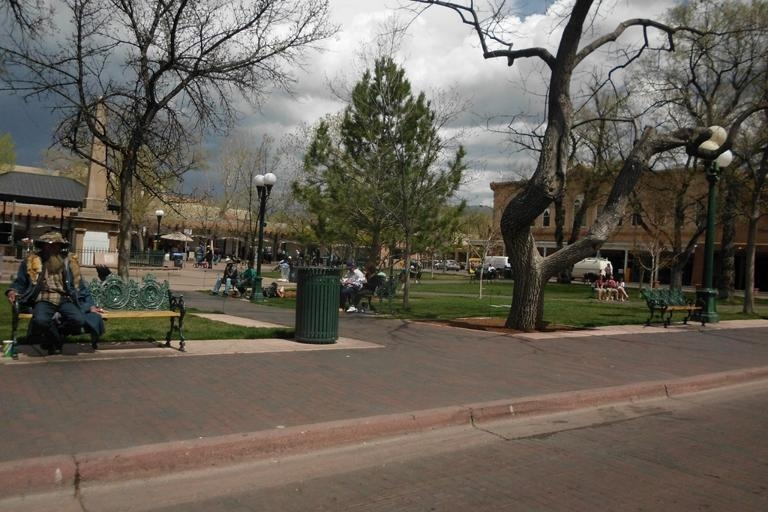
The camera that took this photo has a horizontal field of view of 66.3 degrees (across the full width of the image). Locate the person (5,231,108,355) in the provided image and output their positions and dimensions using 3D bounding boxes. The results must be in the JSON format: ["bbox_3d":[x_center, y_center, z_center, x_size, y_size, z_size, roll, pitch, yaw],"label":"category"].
[{"bbox_3d":[-5.664,0.650,10.193,1.157,2.056,0.939,4,5,11],"label":"person"}]

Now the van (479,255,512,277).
[{"bbox_3d":[10.204,0.999,53.630,1.619,1.676,2.903,-1,7,-17],"label":"van"}]

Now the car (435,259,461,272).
[{"bbox_3d":[9.543,1.315,88.830,3.614,1.335,1.796,4,-2,-11],"label":"car"}]

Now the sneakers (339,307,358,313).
[{"bbox_3d":[-1.180,1.775,19.275,0.602,0.288,0.218,1,-5,20],"label":"sneakers"}]

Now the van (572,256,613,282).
[{"bbox_3d":[17.660,1.186,49.903,2.153,1.604,2.266,1,3,32],"label":"van"}]
